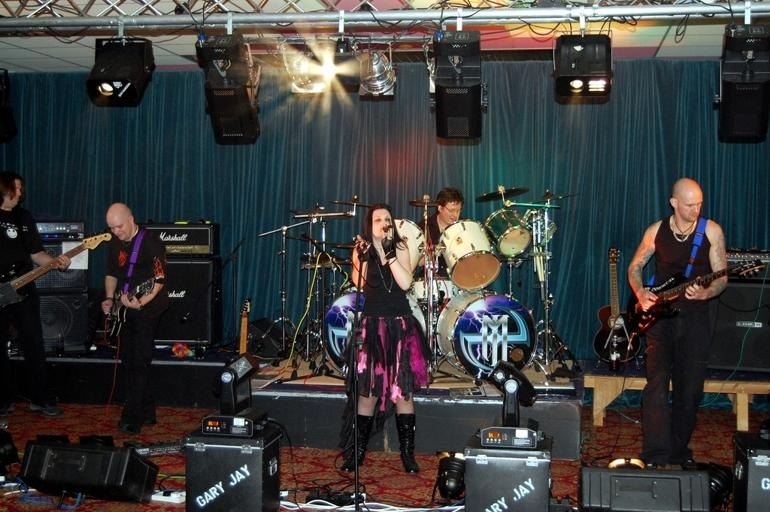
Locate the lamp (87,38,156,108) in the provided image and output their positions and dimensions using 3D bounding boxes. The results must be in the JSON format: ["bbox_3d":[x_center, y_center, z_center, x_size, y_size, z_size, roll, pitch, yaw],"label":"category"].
[{"bbox_3d":[-2.660,-1.882,7.695,0.563,0.772,0.763,2,4,17],"label":"lamp"}]

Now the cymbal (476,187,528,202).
[{"bbox_3d":[1.363,-0.736,8.601,0.567,0.189,0.780,1,-1,9],"label":"cymbal"}]

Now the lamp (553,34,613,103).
[{"bbox_3d":[1.964,-1.913,7.378,0.621,0.645,0.363,0,-15,8],"label":"lamp"}]

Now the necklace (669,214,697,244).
[{"bbox_3d":[2.698,-0.241,6.678,0.178,0.250,0.095,2,-6,20],"label":"necklace"}]

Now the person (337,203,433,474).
[{"bbox_3d":[-0.043,0.746,6.497,0.733,2.362,1.207,1,0,14],"label":"person"}]

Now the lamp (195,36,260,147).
[{"bbox_3d":[-1.625,-1.709,7.662,0.520,1.063,0.741,1,0,1],"label":"lamp"}]

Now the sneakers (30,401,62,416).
[{"bbox_3d":[-3.655,1.627,7.954,0.288,0.125,0.157,2,-3,8],"label":"sneakers"}]

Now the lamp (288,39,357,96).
[{"bbox_3d":[-0.640,-2.028,7.899,0.885,0.221,0.920,3,-16,-8],"label":"lamp"}]

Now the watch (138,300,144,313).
[{"bbox_3d":[-2.435,0.485,7.357,0.031,0.081,0.070,9,8,37],"label":"watch"}]

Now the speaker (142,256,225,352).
[{"bbox_3d":[-2.273,0.581,9.219,1.166,1.556,0.885,0,-4,0],"label":"speaker"}]

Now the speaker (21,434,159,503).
[{"bbox_3d":[-2.348,1.682,5.909,0.936,0.538,0.473,-2,-31,9],"label":"speaker"}]

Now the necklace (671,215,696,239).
[{"bbox_3d":[2.702,-0.261,6.678,0.154,0.209,0.078,1,1,20],"label":"necklace"}]

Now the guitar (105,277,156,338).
[{"bbox_3d":[-2.621,0.521,7.402,0.712,0.353,0.100,-41,-39,26],"label":"guitar"}]

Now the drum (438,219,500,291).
[{"bbox_3d":[0.935,-0.016,7.882,0.624,0.742,0.399,1,0,-27],"label":"drum"}]

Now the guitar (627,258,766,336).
[{"bbox_3d":[2.734,0.376,6.692,0.998,0.664,0.440,1,0,16],"label":"guitar"}]

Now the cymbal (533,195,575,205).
[{"bbox_3d":[1.985,-0.669,8.642,0.297,0.070,0.292,-12,5,-41],"label":"cymbal"}]

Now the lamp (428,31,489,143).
[{"bbox_3d":[0.720,-1.689,7.340,0.507,1.040,0.478,1,0,5],"label":"lamp"}]

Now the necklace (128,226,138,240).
[{"bbox_3d":[-2.565,-0.244,7.526,0.096,0.125,0.052,-1,9,-44],"label":"necklace"}]

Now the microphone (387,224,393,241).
[{"bbox_3d":[0.037,-0.182,6.103,0.065,0.105,0.107,0,-10,3],"label":"microphone"}]

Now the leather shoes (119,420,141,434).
[{"bbox_3d":[-2.571,1.711,7.434,0.146,0.061,0.149,2,-2,-1],"label":"leather shoes"}]

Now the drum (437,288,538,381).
[{"bbox_3d":[1.131,0.760,7.743,1.060,0.936,0.969,-8,15,-20],"label":"drum"}]

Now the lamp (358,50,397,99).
[{"bbox_3d":[-0.060,-1.877,7.798,0.414,0.483,0.691,2,-22,2],"label":"lamp"}]
